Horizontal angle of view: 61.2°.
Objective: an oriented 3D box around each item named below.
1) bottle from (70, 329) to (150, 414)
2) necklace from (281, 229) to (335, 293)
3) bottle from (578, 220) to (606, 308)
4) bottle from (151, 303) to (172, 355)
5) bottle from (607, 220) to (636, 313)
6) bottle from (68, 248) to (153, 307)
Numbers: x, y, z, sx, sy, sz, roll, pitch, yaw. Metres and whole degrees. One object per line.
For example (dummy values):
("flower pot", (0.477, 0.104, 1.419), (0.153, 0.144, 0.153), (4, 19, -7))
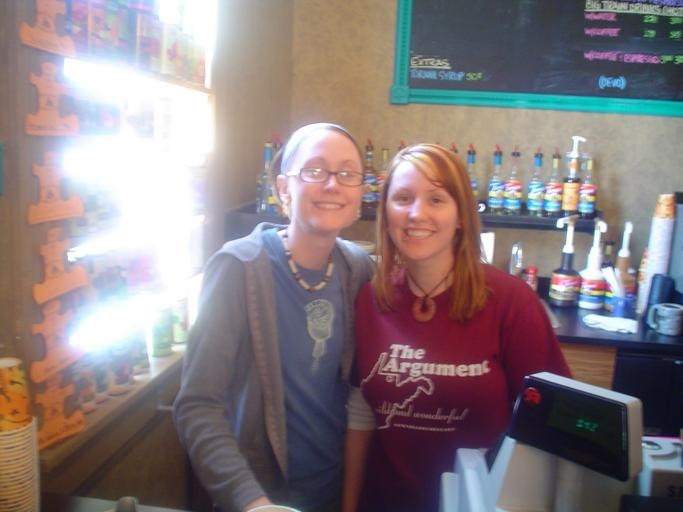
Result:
("bottle", (-0.707, 0.340, 1.797), (0.068, 0.214, 0.331), (-1, 8, 9))
("necklace", (-0.106, 0.012, 1.769), (0.149, 0.192, 0.039), (7, -16, -27))
("bottle", (1.199, 0.039, 2.764), (0.119, 0.422, 0.176), (2, 10, 26))
("bottle", (-0.632, 0.267, 2.075), (0.047, 0.176, 0.105), (4, 10, 33))
("bottle", (1.319, 0.053, 2.729), (0.120, 0.404, 0.308), (2, 9, 26))
("bottle", (-0.691, 0.056, 1.765), (0.046, 0.134, 0.235), (-1, 3, 16))
